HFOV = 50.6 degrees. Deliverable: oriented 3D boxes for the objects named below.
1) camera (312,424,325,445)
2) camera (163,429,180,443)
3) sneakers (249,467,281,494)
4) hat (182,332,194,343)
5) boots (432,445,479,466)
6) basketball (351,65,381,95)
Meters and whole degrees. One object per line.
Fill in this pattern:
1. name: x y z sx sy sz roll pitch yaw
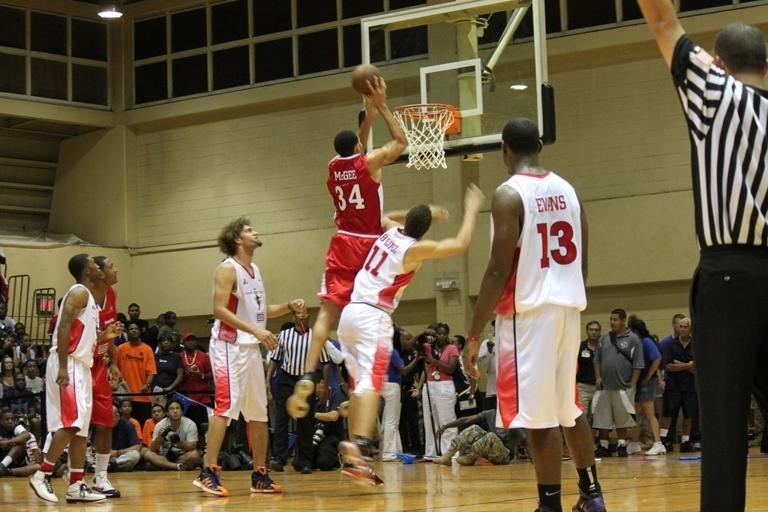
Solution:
1. camera: -1.012 2.784 12.678 0.119 0.297 0.090 21 -50 1
2. camera: -3.514 2.968 13.510 0.196 0.205 0.247 -6 12 -40
3. sneakers: -1.319 2.511 9.133 0.329 0.278 0.259 -2 -8 -10
4. hat: -3.664 1.527 15.328 0.206 0.155 0.268 0 -9 -18
5. boots: 1.155 3.063 12.708 0.695 0.357 0.370 -4 -8 3
6. basketball: -0.196 -1.938 8.915 0.279 0.410 0.214 -10 -11 40
